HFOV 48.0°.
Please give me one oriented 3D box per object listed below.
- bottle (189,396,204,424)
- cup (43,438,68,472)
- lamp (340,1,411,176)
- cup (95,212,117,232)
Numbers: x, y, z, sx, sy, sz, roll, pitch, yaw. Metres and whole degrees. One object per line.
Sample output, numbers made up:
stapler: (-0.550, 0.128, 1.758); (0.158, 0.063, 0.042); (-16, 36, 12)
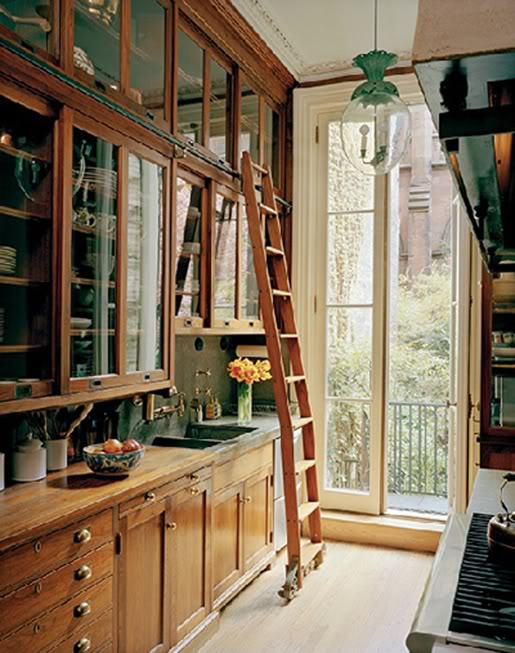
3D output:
bottle: (-0.318, 0.480, 3.332); (0.091, 0.129, 0.124); (1, 3, -1)
cup: (-0.707, 0.467, 2.102); (0.096, 0.100, 0.093); (0, 1, 0)
lamp: (0.476, -0.901, 2.335); (0.256, 0.581, 0.369); (1, -1, 12)
cup: (-0.538, -0.372, 2.051); (0.084, 0.044, 0.121); (2, 1, -6)
